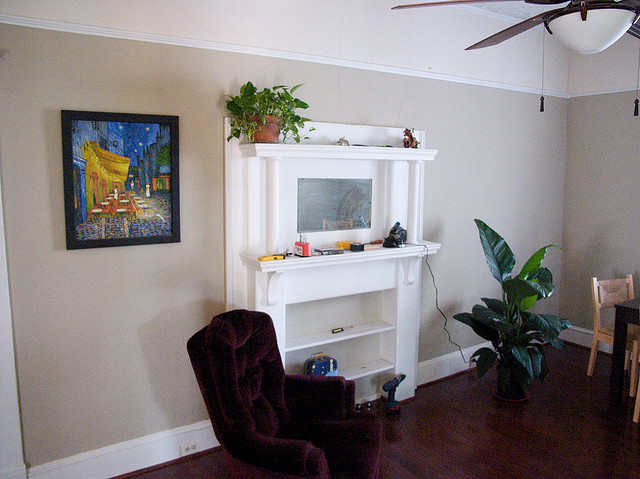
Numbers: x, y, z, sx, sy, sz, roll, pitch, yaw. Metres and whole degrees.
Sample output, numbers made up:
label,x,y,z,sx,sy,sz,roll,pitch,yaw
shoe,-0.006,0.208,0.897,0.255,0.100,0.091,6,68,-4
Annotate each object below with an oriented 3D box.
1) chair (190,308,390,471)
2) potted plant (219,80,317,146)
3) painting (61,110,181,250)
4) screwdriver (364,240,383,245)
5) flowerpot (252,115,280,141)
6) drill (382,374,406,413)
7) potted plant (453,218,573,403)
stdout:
label,x,y,z,sx,sy,sz,roll,pitch,yaw
chair,-0.233,0.989,3.308,1.100,1.184,0.962,-5,7,18
potted plant,-0.333,-0.937,3.602,0.684,0.474,0.403,-10,17,-37
painting,-1.312,-0.403,3.296,0.742,0.888,0.175,-4,14,-17
screwdriver,0.457,0.021,4.120,0.179,0.024,0.056,-7,16,-29
flowerpot,-0.369,-0.770,3.423,0.167,0.128,0.171,2,10,6
drill,0.665,1.298,4.132,0.072,0.304,0.301,28,-49,-26
potted plant,1.668,0.612,4.370,1.038,1.518,0.995,4,0,8
